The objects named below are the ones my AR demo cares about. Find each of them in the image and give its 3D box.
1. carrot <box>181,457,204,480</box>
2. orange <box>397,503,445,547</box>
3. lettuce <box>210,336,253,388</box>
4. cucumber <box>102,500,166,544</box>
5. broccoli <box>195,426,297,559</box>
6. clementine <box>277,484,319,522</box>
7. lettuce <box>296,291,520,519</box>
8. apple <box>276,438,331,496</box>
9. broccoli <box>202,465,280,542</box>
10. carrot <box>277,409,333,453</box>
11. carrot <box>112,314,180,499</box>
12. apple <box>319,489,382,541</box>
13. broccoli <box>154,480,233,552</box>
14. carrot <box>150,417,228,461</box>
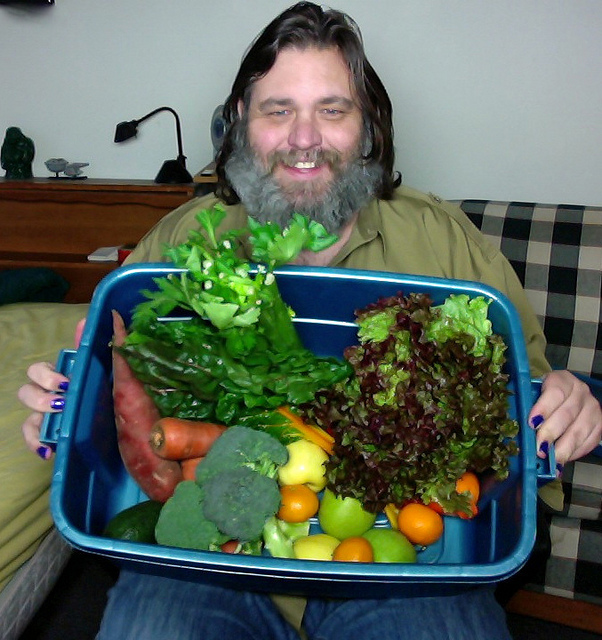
[{"bbox_3d":[-0.185,0.259,0.952,0.037,0.037,0.023,-4,-20,13],"label":"carrot"},{"bbox_3d":[0.185,0.316,0.848,0.077,0.052,0.059,12,-12,41],"label":"orange"},{"bbox_3d":[-0.119,0.078,0.949,0.054,0.111,0.032,-23,-29,-24],"label":"lettuce"},{"bbox_3d":[-0.248,0.309,0.830,0.063,0.038,0.107,9,-3,-7],"label":"cucumber"},{"bbox_3d":[-0.090,0.271,0.857,0.188,0.186,0.077,-1,-5,9],"label":"broccoli"},{"bbox_3d":[-0.006,0.290,0.877,0.064,0.037,0.055,-1,-6,-2],"label":"clementine"},{"bbox_3d":[0.187,0.115,0.876,0.396,0.315,0.164,-1,3,10],"label":"lettuce"},{"bbox_3d":[-0.010,0.243,0.945,0.092,0.076,0.086,7,-3,-11],"label":"apple"},{"bbox_3d":[-0.084,0.268,0.806,0.125,0.102,0.036,-2,-24,-9],"label":"broccoli"},{"bbox_3d":[0.010,0.192,0.939,0.133,0.021,0.013,30,-14,7],"label":"carrot"},{"bbox_3d":[-0.272,0.147,0.916,0.083,0.290,0.146,-14,23,-21],"label":"carrot"},{"bbox_3d":[0.077,0.313,0.913,0.102,0.087,0.091,1,9,5],"label":"apple"},{"bbox_3d":[-0.167,0.309,0.861,0.114,0.095,0.034,14,-23,3],"label":"broccoli"},{"bbox_3d":[-0.191,0.207,0.954,0.064,0.054,0.151,31,10,35],"label":"carrot"}]
